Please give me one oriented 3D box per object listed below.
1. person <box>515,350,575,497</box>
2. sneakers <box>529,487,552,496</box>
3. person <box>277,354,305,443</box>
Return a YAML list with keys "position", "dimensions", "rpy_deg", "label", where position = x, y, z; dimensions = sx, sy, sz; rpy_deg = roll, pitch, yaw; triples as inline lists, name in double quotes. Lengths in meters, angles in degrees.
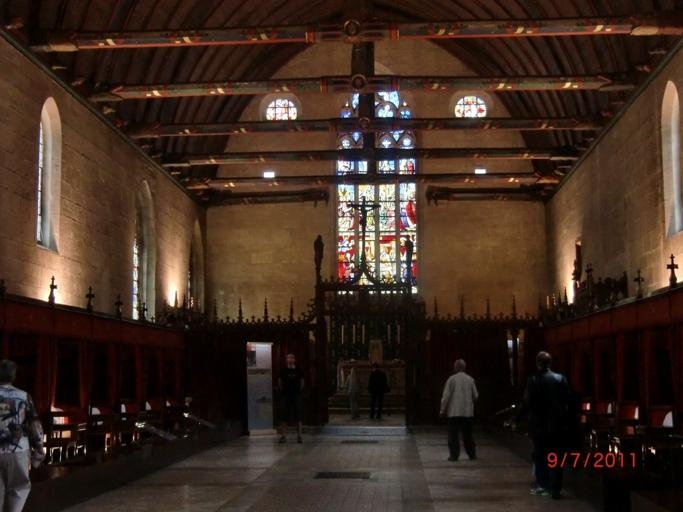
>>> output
- position: [3.017, 2.445, 13.644]
  dimensions: [0.797, 2.051, 0.514]
  rpy_deg: [-3, -10, 10]
  label: "person"
- position: [2.890, 3.472, 13.741]
  dimensions: [0.259, 0.132, 0.107]
  rpy_deg: [4, -4, 14]
  label: "sneakers"
- position: [-1.022, 2.934, 19.157]
  dimensions: [0.482, 1.769, 0.957]
  rpy_deg: [-1, -11, -4]
  label: "person"
